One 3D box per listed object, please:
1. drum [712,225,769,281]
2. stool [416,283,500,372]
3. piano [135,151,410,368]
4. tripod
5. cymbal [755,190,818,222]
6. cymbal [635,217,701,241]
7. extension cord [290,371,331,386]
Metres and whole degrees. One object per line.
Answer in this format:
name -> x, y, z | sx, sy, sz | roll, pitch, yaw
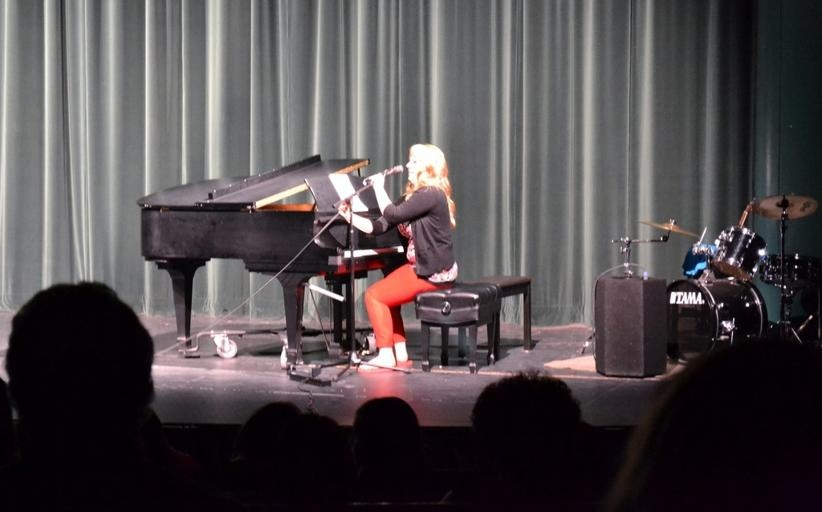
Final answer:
drum -> 2.644, -0.019, 7.815 | 0.410, 0.428, 0.363 | 0, 2, 16
stool -> 0.368, 0.563, 7.665 | 0.602, 0.713, 1.022 | 0, 0, 17
piano -> -1.086, -0.028, 8.115 | 1.918, 1.485, 1.657 | 2, 5, 11
tripod -> -0.442, 0.270, 7.470 | 0.992, 1.310, 0.760 | -2, 2, -28
cymbal -> 2.995, -0.400, 7.733 | 0.478, 0.172, 0.248 | -1, 2, 8
cymbal -> 2.272, -0.233, 8.399 | 0.367, 0.076, 0.365 | 16, 4, 6
extension cord -> -0.755, 0.914, 7.105 | 0.367, 0.085, 0.120 | 0, 2, 28
